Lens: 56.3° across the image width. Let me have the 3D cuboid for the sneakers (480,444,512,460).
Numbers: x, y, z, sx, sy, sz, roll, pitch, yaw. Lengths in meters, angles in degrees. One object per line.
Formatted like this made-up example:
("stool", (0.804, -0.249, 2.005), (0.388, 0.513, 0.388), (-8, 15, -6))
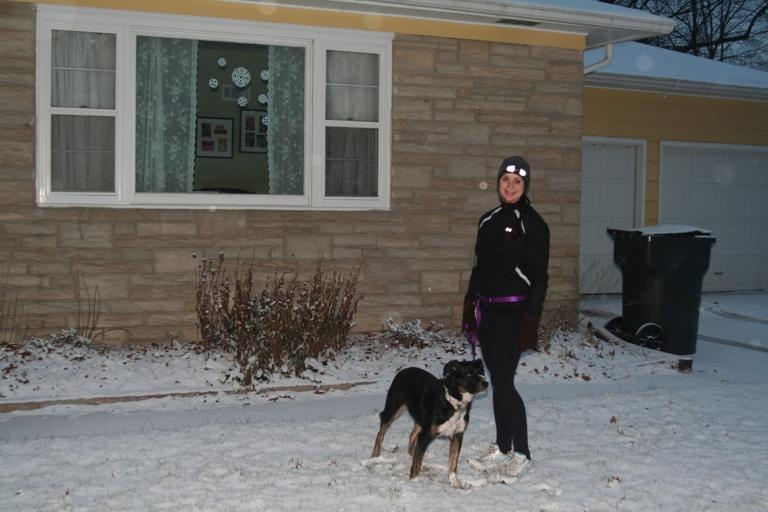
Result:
("sneakers", (1.192, 2.022, 7.414), (0.361, 0.158, 0.125), (0, -5, 29))

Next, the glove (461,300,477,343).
("glove", (0.893, 0.668, 7.420), (0.084, 0.325, 0.226), (3, -2, 4))

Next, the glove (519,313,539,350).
("glove", (1.444, 0.753, 7.088), (0.181, 0.382, 0.092), (2, 7, 18))
